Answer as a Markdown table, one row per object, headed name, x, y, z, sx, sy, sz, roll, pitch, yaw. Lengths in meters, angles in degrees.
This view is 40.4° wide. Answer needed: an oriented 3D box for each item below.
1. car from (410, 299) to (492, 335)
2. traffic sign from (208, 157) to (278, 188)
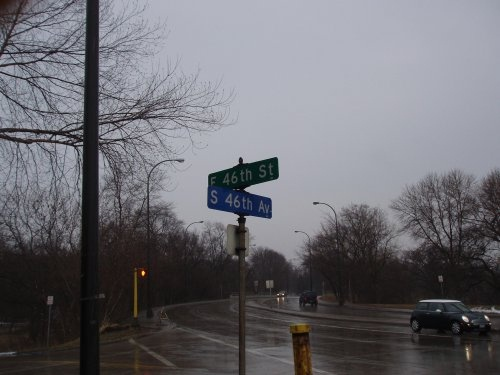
| name | x | y | z | sx | sy | sz | roll | pitch | yaw |
| --- | --- | --- | --- | --- | --- | --- | --- | --- | --- |
| car | 10.617 | 6.863 | 36.019 | 1.147 | 1.944 | 4.111 | 9 | -17 | -42 |
| traffic sign | -0.163 | -0.399 | 20.550 | 2.073 | 0.836 | 0.304 | -4 | -11 | 15 |
